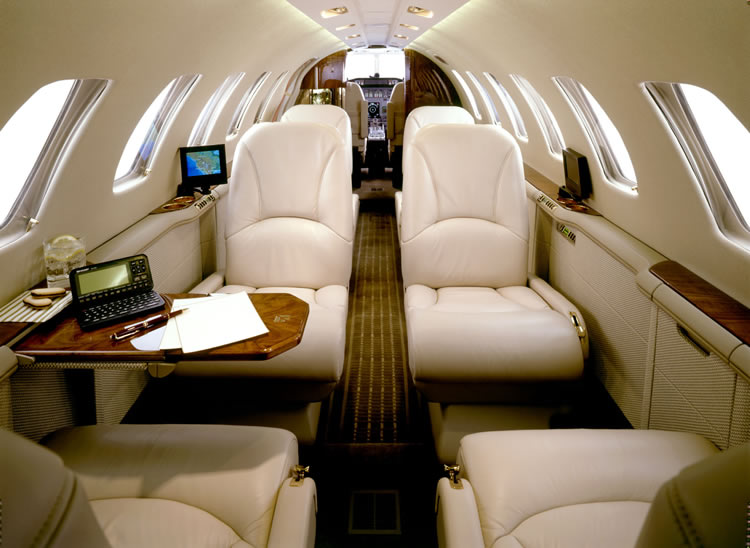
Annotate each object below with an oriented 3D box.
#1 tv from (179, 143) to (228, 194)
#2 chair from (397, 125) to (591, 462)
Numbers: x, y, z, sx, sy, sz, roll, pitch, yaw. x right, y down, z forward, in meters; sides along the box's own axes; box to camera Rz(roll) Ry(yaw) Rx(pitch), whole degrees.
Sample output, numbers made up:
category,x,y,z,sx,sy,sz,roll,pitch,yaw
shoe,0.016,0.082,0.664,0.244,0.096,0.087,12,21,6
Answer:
category,x,y,z,sx,sy,sz,roll,pitch,yaw
tv,-1.246,-0.742,3.855,0.305,0.340,0.116,-7,16,-23
chair,0.630,0.009,3.084,0.923,1.620,1.176,0,15,-1
